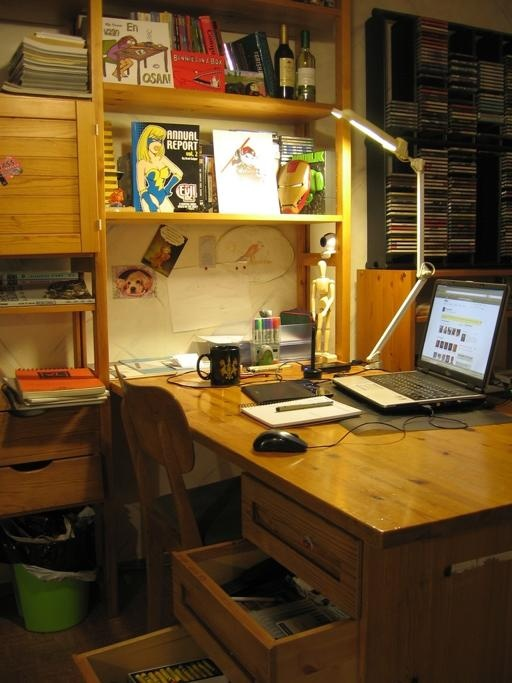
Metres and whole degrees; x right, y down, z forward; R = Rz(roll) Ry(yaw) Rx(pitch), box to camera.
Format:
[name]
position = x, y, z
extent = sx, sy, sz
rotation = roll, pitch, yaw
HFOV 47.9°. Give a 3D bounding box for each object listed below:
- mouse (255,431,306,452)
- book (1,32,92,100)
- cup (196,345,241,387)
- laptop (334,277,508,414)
[mouse]
position = 0.043, 0.192, 1.083
extent = 0.076, 0.025, 0.043
rotation = 0, 7, -15
[book]
position = -0.629, -0.807, 1.743
extent = 0.194, 0.079, 0.244
rotation = -4, 14, -24
[cup]
position = -0.122, 0.079, 1.771
extent = 0.132, 0.108, 0.081
rotation = -2, 3, -27
[laptop]
position = 0.434, 0.025, 1.552
extent = 0.366, 0.307, 0.395
rotation = -7, 8, -11
